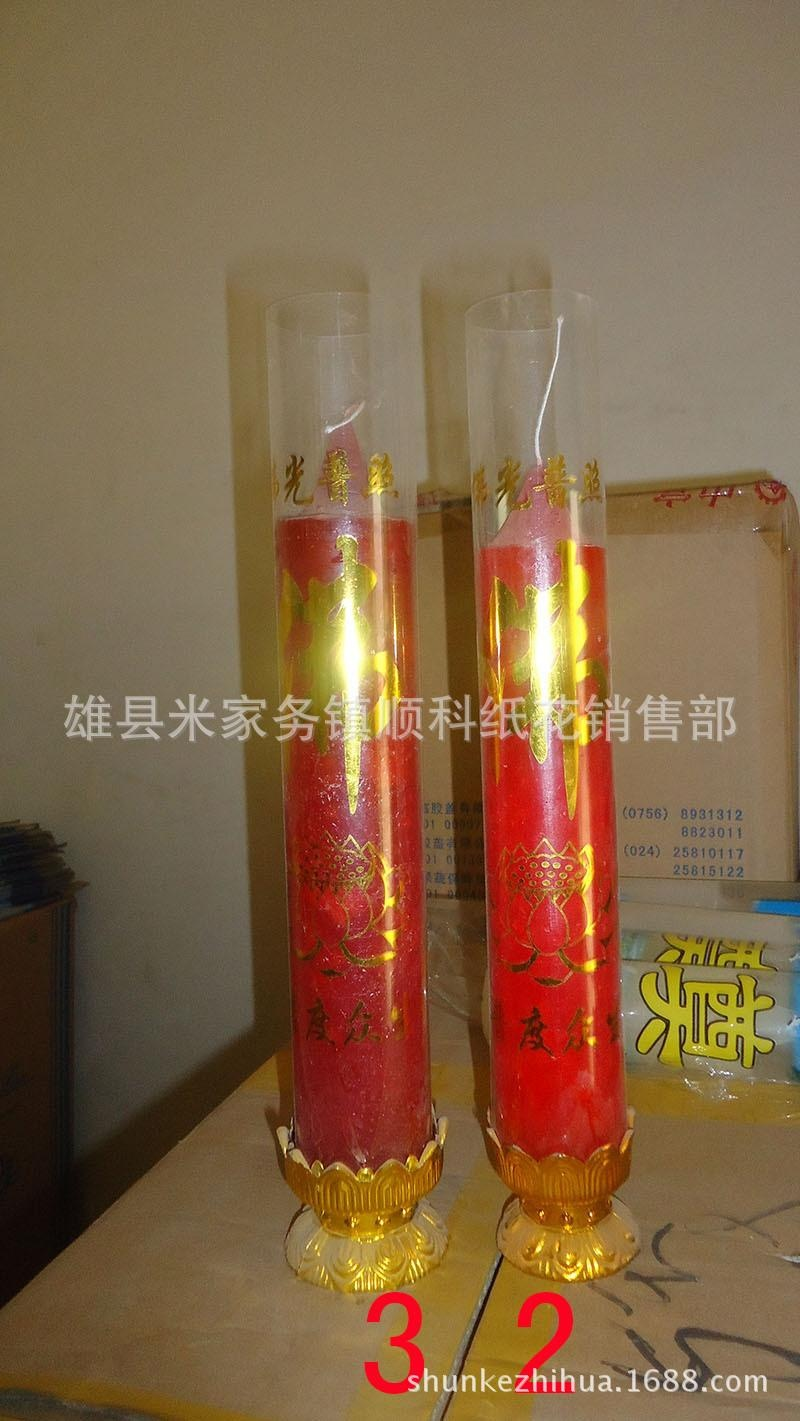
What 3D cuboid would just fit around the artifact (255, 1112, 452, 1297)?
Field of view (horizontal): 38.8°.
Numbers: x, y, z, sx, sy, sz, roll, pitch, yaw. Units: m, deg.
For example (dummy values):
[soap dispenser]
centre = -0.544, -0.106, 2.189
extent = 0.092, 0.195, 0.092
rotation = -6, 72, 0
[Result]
[artifact]
centre = -0.016, 0.268, 0.613
extent = 0.082, 0.071, 0.087
rotation = -12, -36, 15
